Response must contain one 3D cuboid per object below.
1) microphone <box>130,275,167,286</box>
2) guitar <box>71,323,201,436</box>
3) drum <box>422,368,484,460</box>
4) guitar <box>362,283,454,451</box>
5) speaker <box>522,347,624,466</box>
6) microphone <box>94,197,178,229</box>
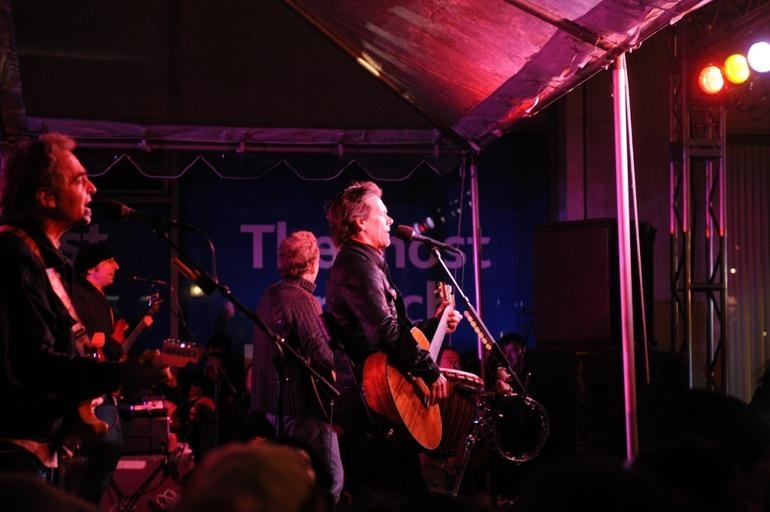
[{"bbox_3d":[-2.866,0.292,9.571,0.393,0.065,0.054,8,28,11],"label":"microphone"},{"bbox_3d":[-2.192,1.128,7.054,0.205,1.418,0.680,4,-10,39],"label":"guitar"},{"bbox_3d":[0.693,1.359,6.818,0.624,0.658,0.677,1,-18,12],"label":"drum"},{"bbox_3d":[0.170,0.924,6.353,0.165,0.548,1.258,-16,28,24],"label":"guitar"},{"bbox_3d":[1.789,1.397,7.549,0.888,1.051,0.310,0,-3,13],"label":"speaker"},{"bbox_3d":[-2.599,-0.445,8.221,0.833,0.228,0.227,13,38,-13],"label":"microphone"}]
